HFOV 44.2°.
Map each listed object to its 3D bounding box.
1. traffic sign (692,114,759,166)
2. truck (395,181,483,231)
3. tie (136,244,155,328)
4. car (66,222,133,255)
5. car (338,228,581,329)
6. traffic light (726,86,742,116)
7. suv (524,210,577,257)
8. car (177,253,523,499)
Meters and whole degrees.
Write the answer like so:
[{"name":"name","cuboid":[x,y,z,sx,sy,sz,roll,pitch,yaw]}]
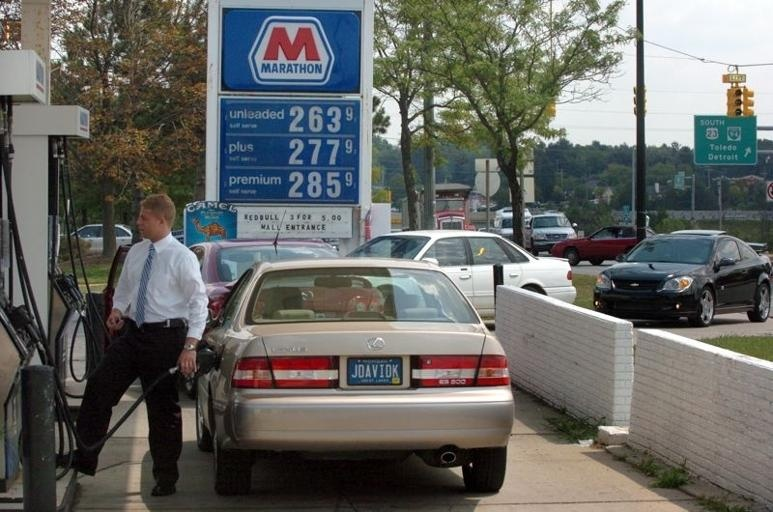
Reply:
[{"name":"traffic sign","cuboid":[14.582,-4.986,41.025,2.486,2.032,0.814,1,5,15]},{"name":"truck","cuboid":[3.858,-2.899,54.321,2.563,2.464,4.955,0,-3,-12]},{"name":"tie","cuboid":[-2.109,0.265,8.271,0.113,0.755,0.032,2,-26,8]},{"name":"car","cuboid":[-11.299,-0.645,37.401,3.414,1.289,1.555,3,0,1]},{"name":"car","cuboid":[1.491,0.388,16.603,3.617,1.095,1.594,4,-2,-23]},{"name":"traffic light","cuboid":[10.930,-4.837,29.874,0.449,0.954,0.657,2,6,22]},{"name":"suv","cuboid":[7.231,-1.024,43.370,1.501,1.214,2.973,-1,-3,-5]},{"name":"car","cuboid":[-0.214,0.942,7.800,1.635,1.191,2.888,1,2,-5]}]
